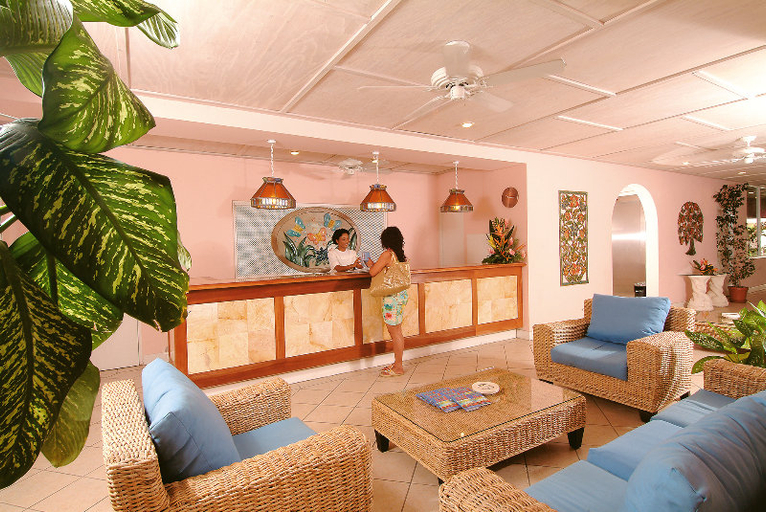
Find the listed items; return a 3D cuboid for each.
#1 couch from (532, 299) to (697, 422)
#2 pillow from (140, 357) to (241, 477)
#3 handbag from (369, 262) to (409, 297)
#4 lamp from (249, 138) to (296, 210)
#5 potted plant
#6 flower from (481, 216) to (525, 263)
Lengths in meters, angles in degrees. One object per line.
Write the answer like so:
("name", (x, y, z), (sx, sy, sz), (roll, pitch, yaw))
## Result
("couch", (1.996, 0.899, 4.149), (0.949, 0.947, 1.313), (-1, 0, -35))
("pillow", (-0.978, 0.596, 2.387), (0.391, 0.528, 0.753), (-12, 11, -19))
("handbag", (0.064, 0.233, 4.799), (0.331, 0.333, 0.137), (-5, 2, 37))
("lamp", (-1.278, -0.889, 5.504), (0.438, 0.742, 1.318), (-3, 8, -12))
("potted plant", (6.938, -0.330, 9.499), (0.619, 2.128, 1.681), (6, 11, 44))
("flower", (1.609, -0.206, 6.574), (0.484, 0.591, 0.724), (-3, 8, -12))
